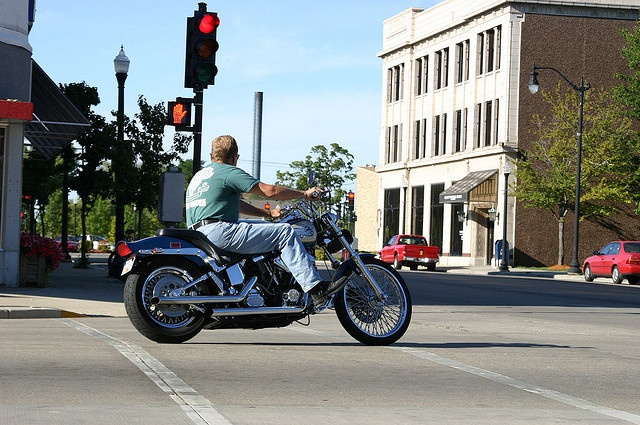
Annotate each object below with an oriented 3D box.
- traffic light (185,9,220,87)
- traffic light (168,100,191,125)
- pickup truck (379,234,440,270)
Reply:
[{"bbox_3d":[-2.401,-3.352,19.791,0.650,1.306,0.541,4,1,-9],"label":"traffic light"},{"bbox_3d":[-2.921,-2.118,20.261,0.478,0.469,0.225,4,1,-6],"label":"traffic light"},{"bbox_3d":[4.763,2.190,52.190,2.147,1.674,4.868,5,-3,-14],"label":"pickup truck"}]
